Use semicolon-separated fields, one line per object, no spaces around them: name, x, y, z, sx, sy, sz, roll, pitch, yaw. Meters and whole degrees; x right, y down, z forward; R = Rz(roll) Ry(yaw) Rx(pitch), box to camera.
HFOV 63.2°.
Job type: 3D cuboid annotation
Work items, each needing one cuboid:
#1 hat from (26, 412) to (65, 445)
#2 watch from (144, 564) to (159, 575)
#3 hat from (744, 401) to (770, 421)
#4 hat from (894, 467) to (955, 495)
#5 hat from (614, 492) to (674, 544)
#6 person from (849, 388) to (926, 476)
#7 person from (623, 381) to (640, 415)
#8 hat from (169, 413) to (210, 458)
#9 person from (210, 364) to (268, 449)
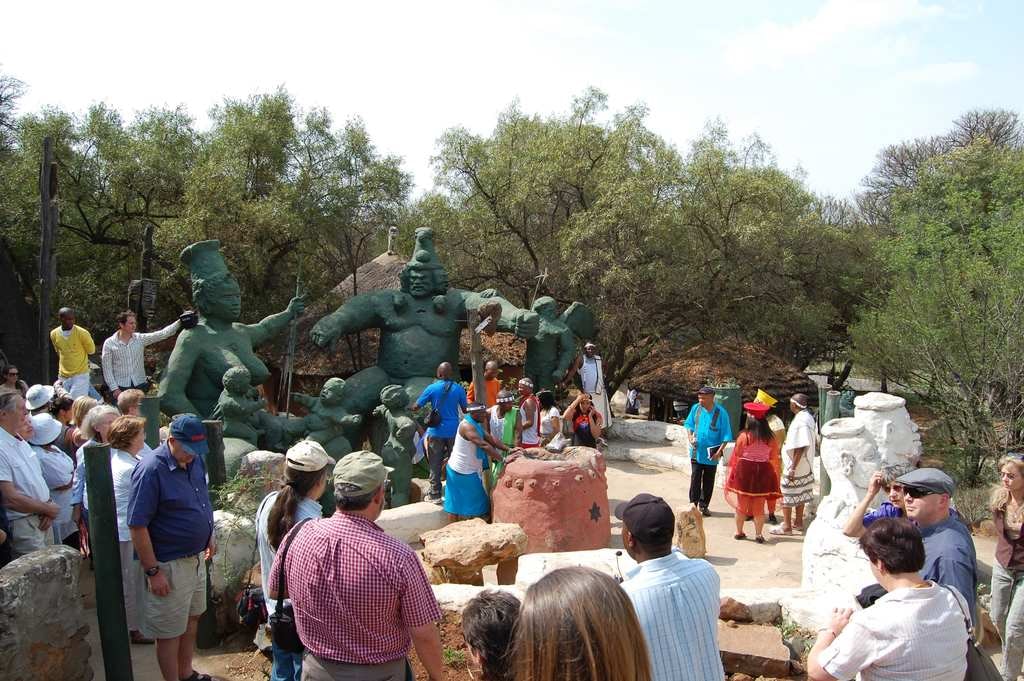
hat;-4.797;0.900;8.546;0.283;0.296;0.159;-18;-32;-32
watch;-3.097;1.995;7.188;0.091;0.098;0.092;-6;16;33
hat;3.220;0.928;11.018;0.268;0.225;0.391;-2;-4;16
hat;3.335;1.136;6.695;0.309;0.121;0.231;9;0;7
hat;0.939;1.249;5.932;0.274;0.233;0.373;-8;31;-19
person;4.340;1.042;9.762;0.731;1.064;0.908;-2;0;8
person;3.127;1.590;21.795;0.349;0.679;1.485;-1;-4;8
hat;-2.809;0.842;7.359;0.229;0.386;0.377;-2;-3;15
person;-3.817;0.921;11.639;0.613;1.128;0.703;0;-3;-19
